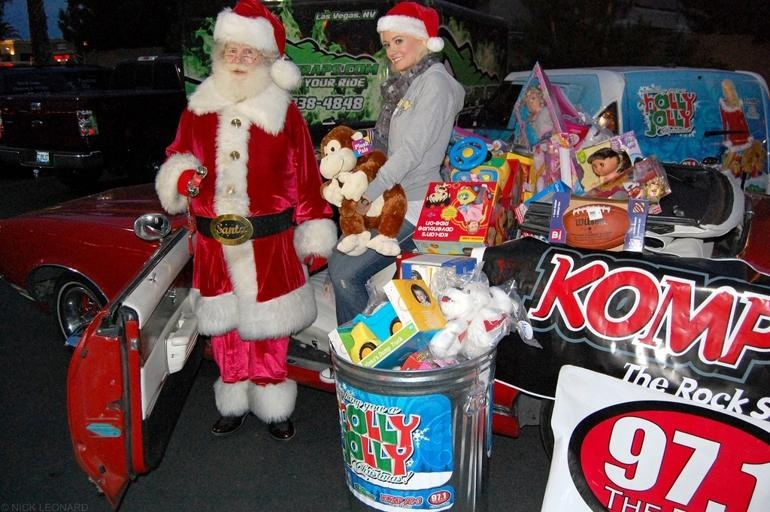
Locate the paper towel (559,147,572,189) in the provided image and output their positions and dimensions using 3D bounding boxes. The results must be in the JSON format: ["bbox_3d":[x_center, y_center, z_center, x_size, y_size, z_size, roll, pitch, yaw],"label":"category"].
[{"bbox_3d":[1.181,-0.562,3.492,0.092,0.253,0.126,1,20,4],"label":"paper towel"}]

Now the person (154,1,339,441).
[{"bbox_3d":[-0.895,-0.396,4.025,0.987,3.139,1.216,-6,13,-23],"label":"person"}]

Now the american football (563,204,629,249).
[{"bbox_3d":[1.232,-0.176,3.154,0.360,0.237,0.144,6,20,17],"label":"american football"}]

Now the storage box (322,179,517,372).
[{"bbox_3d":[0.283,0.379,3.300,1.330,0.758,0.442,-1,-9,-2],"label":"storage box"}]

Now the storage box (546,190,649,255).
[{"bbox_3d":[1.253,-0.166,3.209,0.535,0.351,0.145,2,-16,23],"label":"storage box"}]
